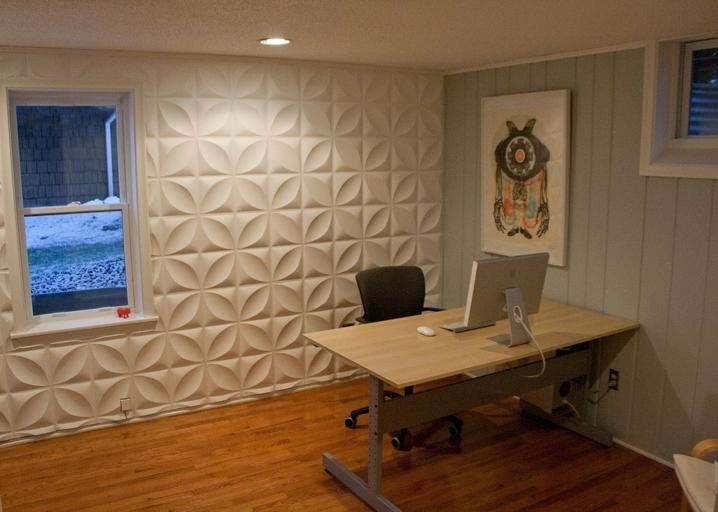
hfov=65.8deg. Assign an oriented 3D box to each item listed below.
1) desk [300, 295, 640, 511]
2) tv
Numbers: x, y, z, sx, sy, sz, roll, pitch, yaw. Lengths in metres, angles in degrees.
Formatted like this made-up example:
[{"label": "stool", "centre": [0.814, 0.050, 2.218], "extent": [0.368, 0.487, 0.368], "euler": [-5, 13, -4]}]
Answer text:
[{"label": "desk", "centre": [0.705, 0.778, 3.805], "extent": [2.409, 1.133, 1.228], "euler": [-11, 23, -32]}, {"label": "tv", "centre": [1.016, 0.321, 3.792], "extent": [0.578, 0.524, 0.233], "euler": [-5, 16, -21]}]
